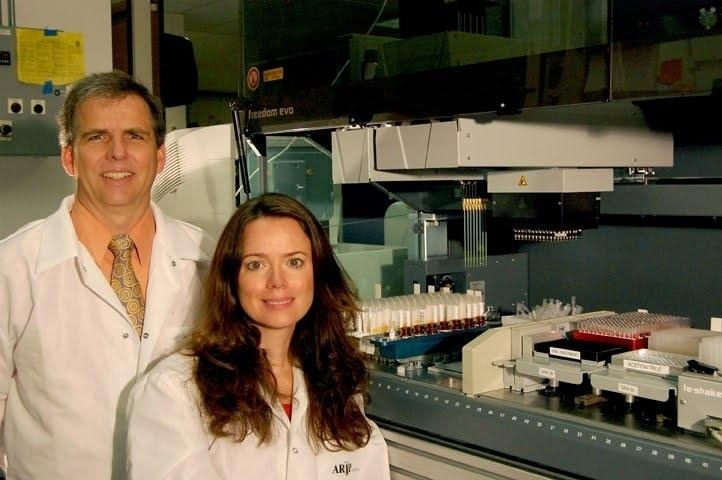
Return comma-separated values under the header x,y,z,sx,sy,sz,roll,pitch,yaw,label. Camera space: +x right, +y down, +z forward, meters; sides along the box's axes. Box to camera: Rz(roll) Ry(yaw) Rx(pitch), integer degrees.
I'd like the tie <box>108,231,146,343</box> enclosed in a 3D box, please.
x,y,z,sx,sy,sz,roll,pitch,yaw,label
-0.712,0.146,1.985,0.114,0.322,0.077,-2,-14,-22,tie
